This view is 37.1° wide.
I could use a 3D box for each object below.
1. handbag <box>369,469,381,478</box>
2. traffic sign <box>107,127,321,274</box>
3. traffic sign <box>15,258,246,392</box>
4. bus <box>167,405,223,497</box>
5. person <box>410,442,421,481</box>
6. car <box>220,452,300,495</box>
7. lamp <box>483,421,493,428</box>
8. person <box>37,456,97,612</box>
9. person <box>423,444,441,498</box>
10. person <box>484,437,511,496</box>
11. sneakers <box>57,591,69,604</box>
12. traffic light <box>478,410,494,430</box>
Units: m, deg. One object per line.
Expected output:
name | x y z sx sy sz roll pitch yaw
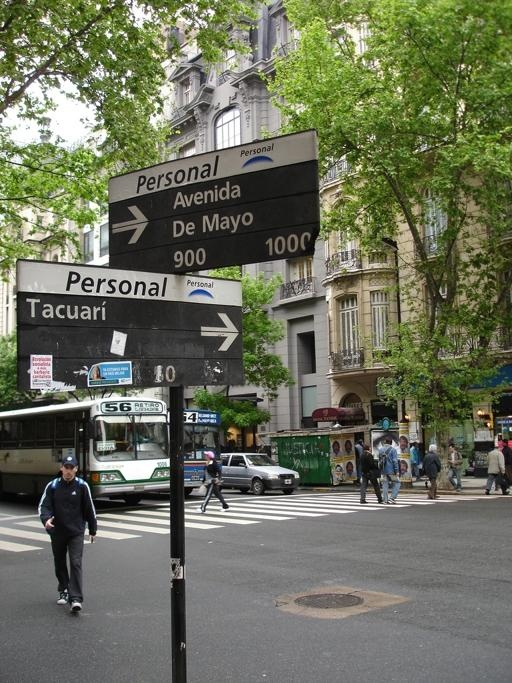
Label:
handbag | 3.156 3.533 20.245 0.189 0.251 0.350 15 -10 6
traffic sign | -0.233 -0.644 3.755 1.289 0.710 0.147 -11 -6 39
traffic sign | -0.616 -0.077 3.893 1.301 0.658 0.160 -3 -6 -40
bus | -1.917 3.475 25.495 1.541 2.148 4.449 1 -10 -11
person | 6.328 4.823 30.428 0.333 1.092 1.738 -8 -5 9
car | 0.102 4.372 24.998 1.343 1.051 2.651 7 -14 -39
lamp | 8.852 3.204 29.209 0.377 0.202 0.363 -2 -34 -2
person | -2.004 2.055 8.236 0.567 1.573 1.061 -6 -5 -14
person | 4.974 3.726 21.566 0.428 1.166 1.385 -8 -5 12
person | 7.229 3.979 23.137 0.682 1.207 2.565 -8 -5 17
sneakers | -2.081 2.814 8.321 0.102 0.128 0.310 1 -20 -9
traffic light | 8.681 3.000 28.853 0.488 0.496 0.923 -7 -30 14
